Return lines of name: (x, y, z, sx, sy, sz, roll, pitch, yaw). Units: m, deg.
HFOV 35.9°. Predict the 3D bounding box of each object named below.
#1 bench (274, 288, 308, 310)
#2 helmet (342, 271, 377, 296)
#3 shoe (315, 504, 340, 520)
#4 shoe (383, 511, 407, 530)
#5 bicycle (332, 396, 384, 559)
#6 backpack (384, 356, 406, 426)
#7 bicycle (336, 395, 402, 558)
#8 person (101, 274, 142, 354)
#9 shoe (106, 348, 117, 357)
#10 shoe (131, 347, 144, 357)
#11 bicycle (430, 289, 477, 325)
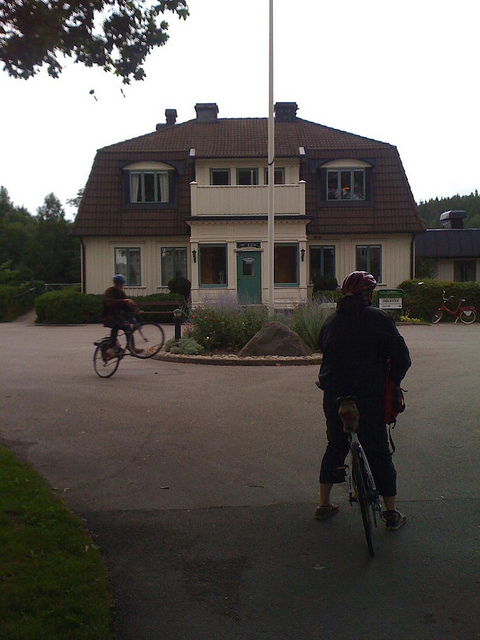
bench: (1.838, -0.819, 28.308, 1.156, 0.965, 0.730, 3, 3, 45)
helmet: (0.800, -0.239, 4.999, 0.216, 0.155, 0.203, 2, 4, 9)
shoe: (0.607, 1.340, 5.246, 0.066, 0.085, 0.190, 1, 7, 40)
shoe: (1.034, 1.327, 4.977, 0.068, 0.142, 0.185, 1, 5, 38)
bicycle: (0.876, 1.047, 5.137, 0.379, 0.915, 1.365, -12, -13, 10)
backpack: (0.993, 0.443, 4.836, 0.124, 0.477, 0.161, 6, 38, 30)
bicycle: (0.840, 0.973, 4.889, 0.424, 0.962, 0.906, 1, 3, 13)
person: (-2.208, -0.131, 13.799, 0.621, 1.383, 3.339, 0, 4, -9)
shoe: (-2.073, 0.542, 12.030, 0.111, 0.121, 0.030, -10, -29, -39)
shoe: (-1.791, 0.563, 13.127, 0.171, 0.167, 0.067, -7, 3, 9)
bicycle: (7.520, -0.436, 26.179, 1.499, 1.511, 0.920, 3, 1, 7)
